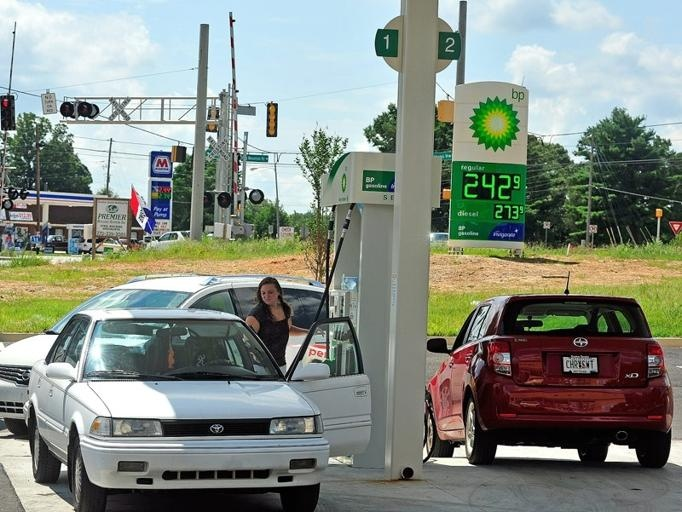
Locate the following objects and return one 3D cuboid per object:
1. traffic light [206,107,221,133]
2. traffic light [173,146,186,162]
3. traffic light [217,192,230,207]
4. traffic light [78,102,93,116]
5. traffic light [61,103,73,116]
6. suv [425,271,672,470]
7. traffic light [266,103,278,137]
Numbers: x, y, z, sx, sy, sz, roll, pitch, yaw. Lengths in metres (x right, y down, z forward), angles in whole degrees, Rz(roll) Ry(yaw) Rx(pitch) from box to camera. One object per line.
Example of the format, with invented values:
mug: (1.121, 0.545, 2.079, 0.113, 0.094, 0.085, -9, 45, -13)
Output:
traffic light: (-6.194, -6.604, 46.711, 0.566, 1.411, 1.981, 0, 1, -9)
traffic light: (-7.486, -4.677, 44.596, 0.611, 0.740, 1.473, 0, 1, -11)
traffic light: (-5.418, -2.580, 44.584, 0.678, 0.712, 0.476, 0, 1, 7)
traffic light: (-12.748, -7.314, 48.555, 0.933, 0.735, 0.671, 0, 1, -25)
traffic light: (-13.660, -7.227, 48.036, 0.533, 0.797, 1.064, 0, 1, -2)
suv: (2.387, 1.426, 11.066, 2.652, 2.067, 1.679, 1, 1, 19)
traffic light: (-2.912, -5.703, 40.672, 0.400, 1.401, 0.362, 0, 1, -16)
